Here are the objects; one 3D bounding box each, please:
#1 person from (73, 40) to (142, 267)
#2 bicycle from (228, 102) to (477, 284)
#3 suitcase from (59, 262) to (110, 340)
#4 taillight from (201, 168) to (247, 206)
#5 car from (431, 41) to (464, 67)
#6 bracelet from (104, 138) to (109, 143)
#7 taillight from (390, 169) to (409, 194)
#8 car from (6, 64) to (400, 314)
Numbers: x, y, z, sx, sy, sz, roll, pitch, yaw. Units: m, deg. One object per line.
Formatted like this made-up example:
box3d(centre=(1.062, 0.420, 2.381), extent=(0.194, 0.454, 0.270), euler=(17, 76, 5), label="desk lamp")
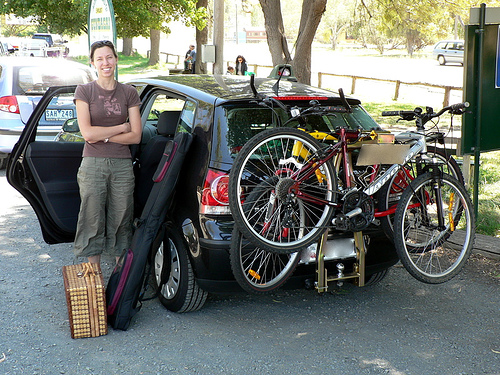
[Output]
box3d(centre=(-1.311, -0.235, 3.896), extent=(0.635, 2.146, 0.503), euler=(-4, 9, -39), label="person")
box3d(centre=(0.895, 0.121, 3.521), extent=(2.271, 1.552, 0.535), euler=(-5, 14, -22), label="bicycle")
box3d(centre=(-1.235, 1.005, 3.515), extent=(0.571, 0.487, 0.355), euler=(-13, -8, 28), label="suitcase")
box3d(centre=(-0.241, 0.009, 3.390), extent=(0.326, 0.281, 0.291), euler=(-6, 14, -36), label="taillight")
box3d(centre=(19.847, -13.276, 40.945), extent=(1.417, 2.306, 3.347), euler=(-6, 15, -25), label="car")
box3d(centre=(-1.288, -0.423, 3.737), extent=(0.042, 0.044, 0.042), euler=(-5, 14, -23), label="bracelet")
box3d(centre=(1.376, -0.056, 3.825), extent=(0.070, 0.200, 0.137), euler=(12, -3, -36), label="taillight")
box3d(centre=(-0.961, -0.336, 4.131), extent=(2.789, 1.537, 3.106), euler=(-6, 22, -30), label="car")
